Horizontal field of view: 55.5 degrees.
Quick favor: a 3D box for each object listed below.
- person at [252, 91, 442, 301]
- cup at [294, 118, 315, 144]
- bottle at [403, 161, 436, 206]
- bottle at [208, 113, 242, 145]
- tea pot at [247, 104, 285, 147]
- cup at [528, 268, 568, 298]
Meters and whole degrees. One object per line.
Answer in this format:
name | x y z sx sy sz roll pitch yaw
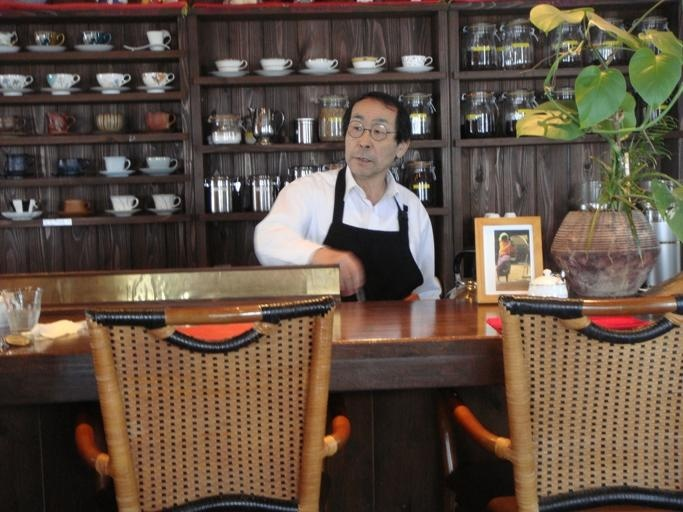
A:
person | 0.006 -0.260 2.931 0.706 0.955 1.007 3 8 35
cup | -0.205 -0.699 3.687 0.126 0.142 0.134 0 1 0
bottle | 0.452 -0.406 3.631 0.205 0.325 0.214 -1 2 0
bottle | -0.641 -0.694 3.570 0.157 0.165 0.167 0 8 -1
tea pot | -0.417 -0.737 3.673 0.228 0.243 0.169 2 4 0
cup | 0.671 0.093 2.122 0.127 0.096 0.132 1 3 0
